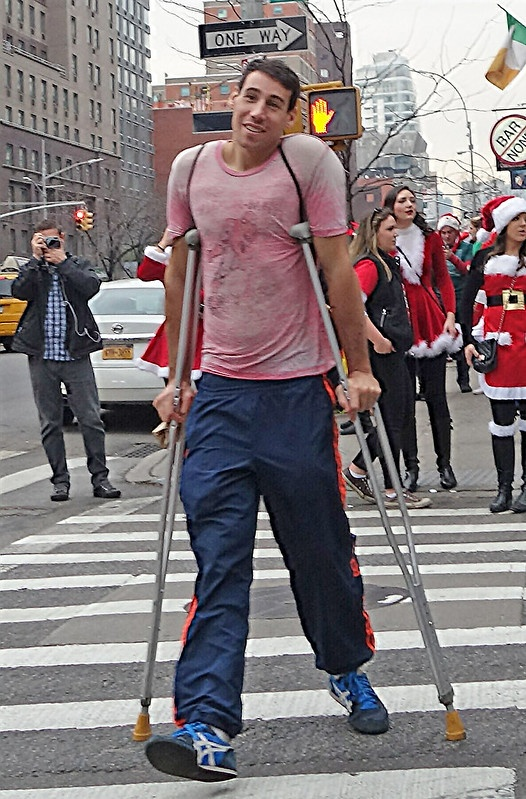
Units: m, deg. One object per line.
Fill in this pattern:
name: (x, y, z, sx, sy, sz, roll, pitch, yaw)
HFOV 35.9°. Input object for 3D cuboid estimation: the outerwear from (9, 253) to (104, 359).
outerwear: (-1.920, -0.865, 7.507, 0.840, 0.880, 0.649, 1, -5, -18)

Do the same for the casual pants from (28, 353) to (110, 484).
casual pants: (-1.818, 0.140, 7.600, 0.616, 1.553, 0.370, -4, -27, -17)
